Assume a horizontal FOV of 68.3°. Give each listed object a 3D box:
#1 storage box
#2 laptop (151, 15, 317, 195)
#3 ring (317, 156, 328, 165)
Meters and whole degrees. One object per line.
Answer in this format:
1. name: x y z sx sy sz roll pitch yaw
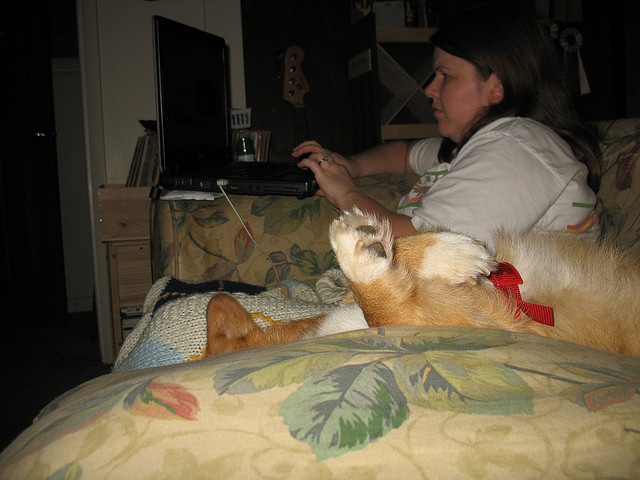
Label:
1. storage box: -0.907 -0.122 2.316 0.294 0.297 0.285 -2 5 -15
2. laptop: -0.223 -0.431 1.553 0.451 0.479 0.576 2 15 2
3. ring: 0.011 -0.222 1.318 0.027 0.008 0.021 -11 33 50
